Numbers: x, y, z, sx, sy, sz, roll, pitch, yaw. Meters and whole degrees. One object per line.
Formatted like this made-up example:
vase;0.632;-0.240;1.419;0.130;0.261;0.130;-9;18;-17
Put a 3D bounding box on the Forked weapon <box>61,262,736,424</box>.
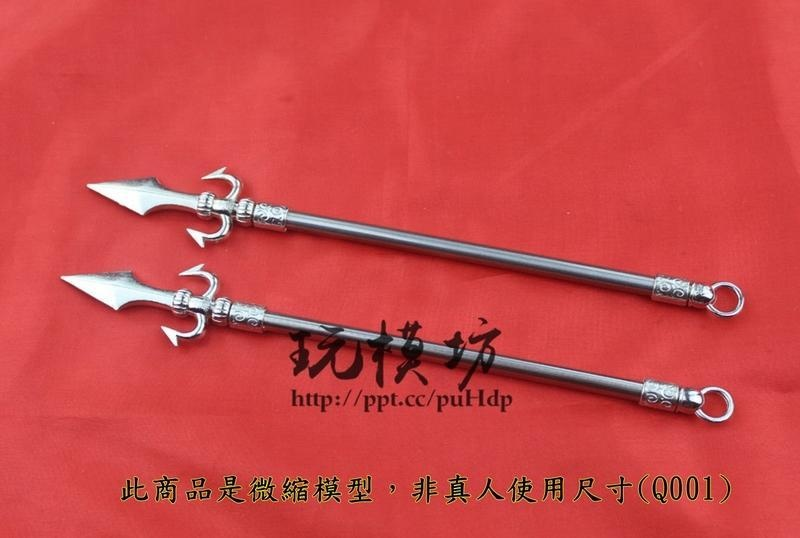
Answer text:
Forked weapon;0.003;0.200;2.198;1.275;0.057;0.268;6;23;3
